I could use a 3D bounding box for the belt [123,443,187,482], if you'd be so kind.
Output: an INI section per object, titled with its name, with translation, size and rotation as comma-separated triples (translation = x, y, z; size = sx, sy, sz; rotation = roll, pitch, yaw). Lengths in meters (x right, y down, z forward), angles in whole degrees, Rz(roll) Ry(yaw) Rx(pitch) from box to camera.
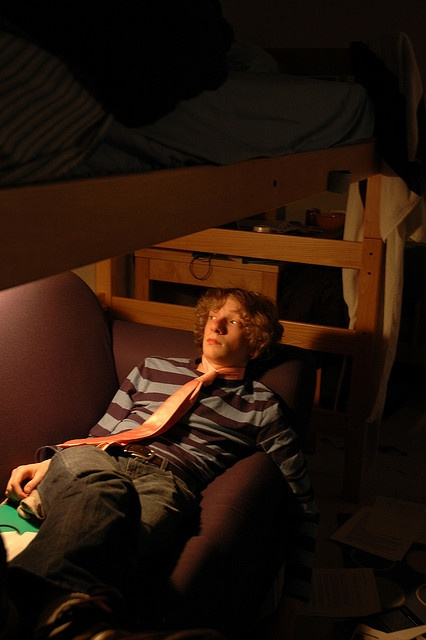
[belt]
translation = -0.156, 0.378, 1.315
size = 0.103, 0.028, 0.105
rotation = 19, -12, 39

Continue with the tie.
[tie]
translation = -0.146, 0.265, 1.479
size = 0.166, 0.086, 0.622
rotation = 24, 33, 37
